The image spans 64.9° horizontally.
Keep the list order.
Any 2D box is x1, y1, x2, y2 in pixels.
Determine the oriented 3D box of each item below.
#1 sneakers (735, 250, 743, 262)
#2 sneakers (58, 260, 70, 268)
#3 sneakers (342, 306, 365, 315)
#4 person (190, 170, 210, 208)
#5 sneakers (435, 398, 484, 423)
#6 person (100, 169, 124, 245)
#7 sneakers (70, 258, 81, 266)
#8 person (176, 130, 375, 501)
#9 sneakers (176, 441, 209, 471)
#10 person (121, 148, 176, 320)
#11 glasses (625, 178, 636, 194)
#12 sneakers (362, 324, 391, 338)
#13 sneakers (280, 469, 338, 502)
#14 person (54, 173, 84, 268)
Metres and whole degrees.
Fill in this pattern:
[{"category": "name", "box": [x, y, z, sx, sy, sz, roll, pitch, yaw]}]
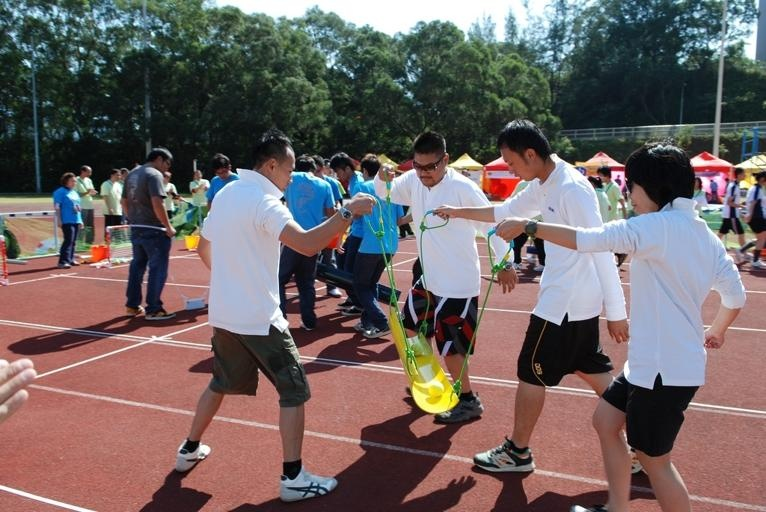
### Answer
[{"category": "sneakers", "box": [8.688, 0.012, 14.744, 0.066, 0.252, 0.181, 8, 5, 25]}, {"category": "sneakers", "box": [-7.200, 0.206, 13.600, 0.289, 0.121, 0.107, 5, 10, 37]}, {"category": "sneakers", "box": [-0.493, 0.905, 9.999, 0.348, 0.134, 0.149, 3, 2, 25]}, {"category": "person", "box": [-5.798, -1.919, 19.111, 0.488, 0.401, 1.392, 0, 39, -3]}, {"category": "sneakers", "box": [0.828, 1.648, 6.448, 0.552, 0.241, 0.197, -2, 0, -18]}, {"category": "person", "box": [-7.352, -1.585, 16.439, 0.528, 1.556, 0.905, -5, 14, -23]}, {"category": "sneakers", "box": [-7.241, 0.136, 14.208, 0.170, 0.204, 0.496, -6, 2, -41]}, {"category": "person", "box": [-1.049, 0.544, 5.198, 1.379, 3.063, 0.885, 8, 15, 30]}, {"category": "sneakers", "box": [-1.761, 1.825, 5.636, 0.150, 0.170, 0.409, 6, 16, 14]}, {"category": "person", "box": [-3.694, -0.336, 9.466, 0.826, 2.683, 1.198, -6, 14, -23]}, {"category": "glasses", "box": [1.869, -0.542, 4.593, 0.090, 0.087, 0.026, -11, 7, -44]}, {"category": "sneakers", "box": [-0.094, 1.094, 8.709, 0.425, 0.174, 0.155, 0, 3, -10]}, {"category": "sneakers", "box": [-0.648, 1.979, 5.287, 0.562, 0.241, 0.199, -3, 2, -19]}, {"category": "person", "box": [-7.223, -0.829, 13.828, 0.584, 2.105, 1.247, -7, 15, -27]}]
